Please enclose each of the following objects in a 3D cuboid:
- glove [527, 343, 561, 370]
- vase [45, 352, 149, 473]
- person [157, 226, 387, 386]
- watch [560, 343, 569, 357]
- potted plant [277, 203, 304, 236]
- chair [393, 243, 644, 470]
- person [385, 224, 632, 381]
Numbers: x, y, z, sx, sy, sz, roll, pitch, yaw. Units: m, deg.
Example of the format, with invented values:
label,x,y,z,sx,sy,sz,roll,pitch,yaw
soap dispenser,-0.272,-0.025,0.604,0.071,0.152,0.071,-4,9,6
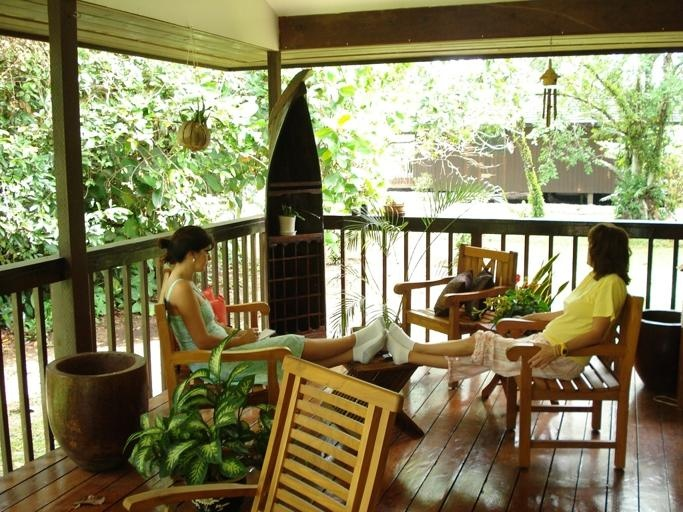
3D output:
label,x,y,z,sx,sy,sz,roll,pitch,yaw
glove,1.089,0.546,2.991,0.135,0.084,0.045,-22,-15,9
vase,-1.362,0.901,3.147,0.533,0.577,0.536,7,9,42
person,-0.356,0.258,3.756,1.701,1.249,0.674,-3,8,-9
watch,1.194,0.512,2.972,0.020,0.057,0.043,5,-3,-2
potted plant,-0.393,-0.316,4.922,0.288,0.304,0.194,-2,-3,26
chair,1.119,0.528,3.253,1.141,1.356,0.770,-1,4,28
person,1.078,0.282,3.527,1.506,1.031,0.784,-2,7,19
